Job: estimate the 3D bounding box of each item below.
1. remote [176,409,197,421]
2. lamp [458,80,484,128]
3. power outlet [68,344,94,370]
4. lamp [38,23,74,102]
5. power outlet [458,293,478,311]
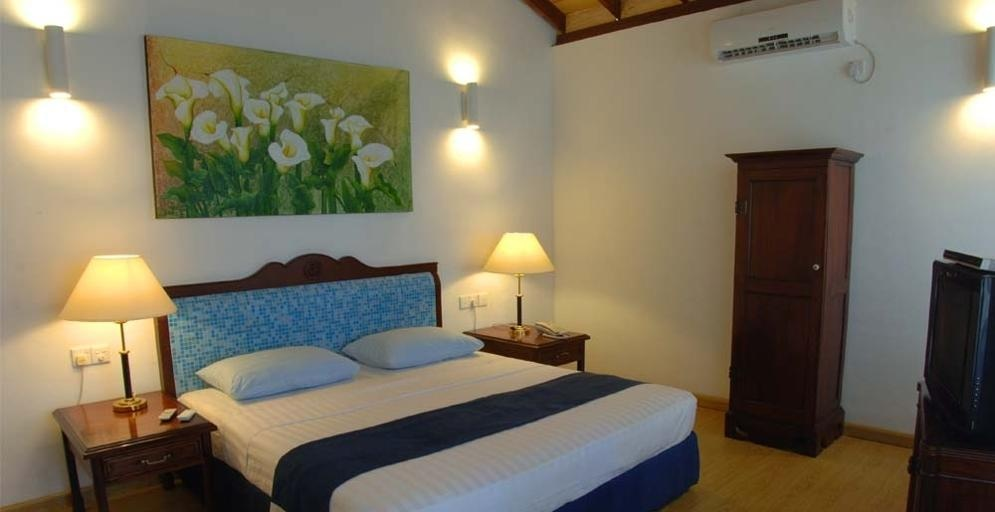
[{"bbox_3d":[-2.486,1.272,5.278,0.086,0.027,0.109,1,7,0],"label":"remote"},{"bbox_3d":[-0.306,-1.591,6.966,0.172,0.460,0.108,1,11,29],"label":"lamp"},{"bbox_3d":[-3.513,0.844,5.527,0.222,0.198,0.110,-4,7,-31],"label":"power outlet"},{"bbox_3d":[-3.624,-1.583,5.374,0.185,0.579,0.118,-7,10,-16],"label":"lamp"},{"bbox_3d":[-0.336,0.491,7.107,0.213,0.092,0.048,-2,7,-38],"label":"power outlet"}]
